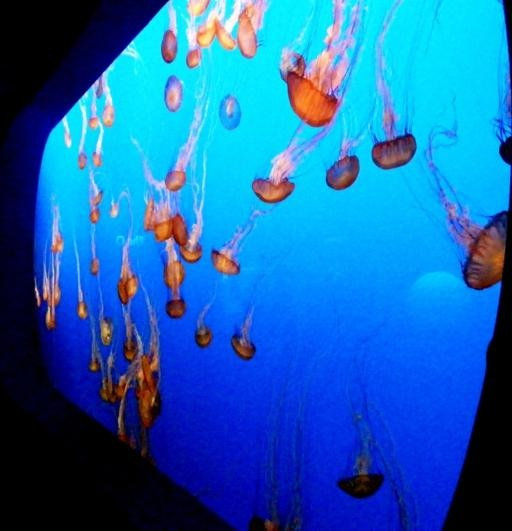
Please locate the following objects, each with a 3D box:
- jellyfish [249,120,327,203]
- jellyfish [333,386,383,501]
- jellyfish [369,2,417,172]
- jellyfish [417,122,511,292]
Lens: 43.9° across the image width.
[{"bbox_3d":[0.080,-0.258,1.684,0.100,0.101,0.258,25,-75,-23],"label":"jellyfish"},{"bbox_3d":[0.260,0.428,1.537,0.054,0.273,0.073,-3,10,-23],"label":"jellyfish"},{"bbox_3d":[0.312,-0.415,1.490,0.109,0.352,0.108,-5,-16,23],"label":"jellyfish"},{"bbox_3d":[0.477,-0.074,1.402,0.143,0.252,0.053,-5,-16,22],"label":"jellyfish"}]
